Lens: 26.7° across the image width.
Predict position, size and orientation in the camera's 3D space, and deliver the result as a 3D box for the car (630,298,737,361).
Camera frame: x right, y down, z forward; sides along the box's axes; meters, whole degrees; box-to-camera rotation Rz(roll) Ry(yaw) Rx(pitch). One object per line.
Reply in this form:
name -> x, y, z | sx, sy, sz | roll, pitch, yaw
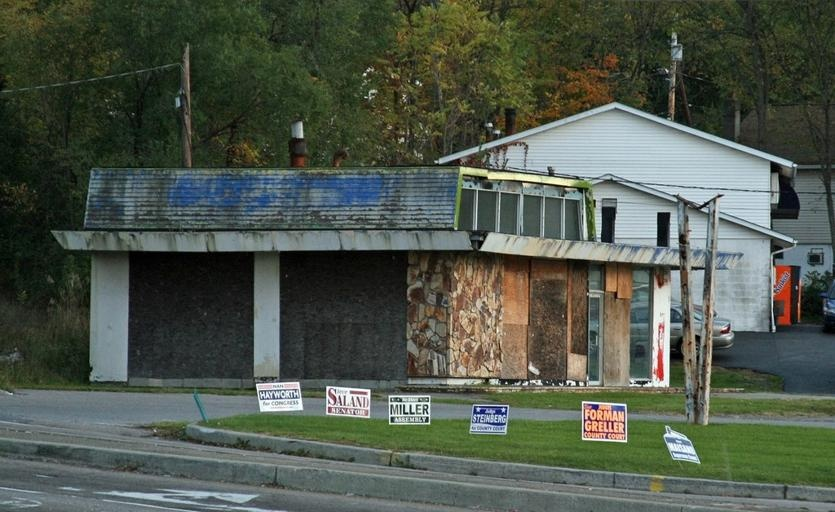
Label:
car -> 14.092, 3.961, 91.817 | 5.889, 1.943, 2.546 | 2, 1, 6
